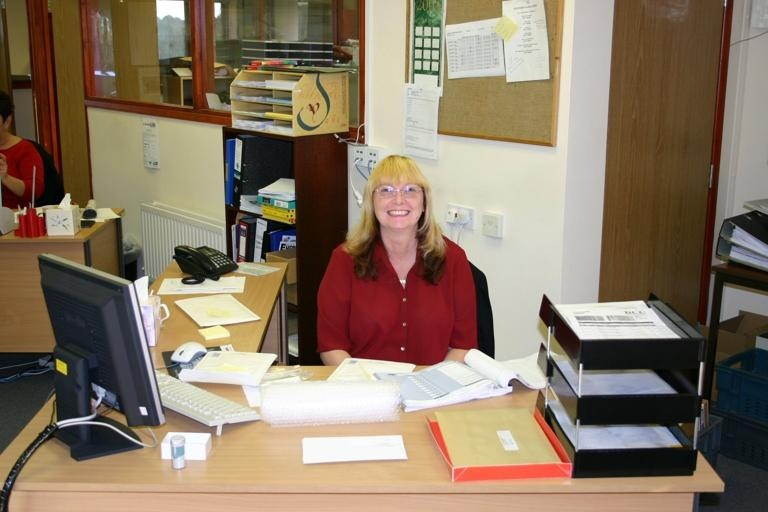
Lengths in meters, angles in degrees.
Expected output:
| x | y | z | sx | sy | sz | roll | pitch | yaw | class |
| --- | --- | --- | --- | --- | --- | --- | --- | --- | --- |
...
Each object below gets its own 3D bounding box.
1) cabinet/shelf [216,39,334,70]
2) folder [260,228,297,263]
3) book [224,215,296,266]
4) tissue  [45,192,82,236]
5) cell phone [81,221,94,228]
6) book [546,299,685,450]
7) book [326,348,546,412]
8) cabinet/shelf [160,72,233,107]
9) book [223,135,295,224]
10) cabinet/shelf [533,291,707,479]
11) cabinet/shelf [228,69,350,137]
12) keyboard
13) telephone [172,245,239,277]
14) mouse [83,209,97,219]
| x | y | z | sx | sy | sz | roll | pitch | yaw | class |
| --- | --- | --- | --- | --- | --- | --- | --- | --- | --- |
| -0.835 | -1.482 | 4.350 | 0.323 | 0.210 | 1.258 | -15 | 23 | -38 | cabinet/shelf |
| -0.750 | -0.062 | 4.172 | 0.239 | 0.223 | 0.078 | -1 | 2 | -27 | folder |
| -0.880 | -0.130 | 4.344 | 0.458 | 0.457 | 0.341 | -8 | 12 | -41 | book |
| -2.148 | -0.263 | 3.944 | 0.204 | 0.236 | 0.203 | -3 | 18 | -7 | tissue  |
| -2.055 | -0.218 | 4.100 | 0.060 | 0.016 | 0.055 | -5 | 21 | -28 | cell phone |
| 0.743 | 0.353 | 1.997 | 0.402 | 0.387 | 0.418 | -1 | 13 | 0 | book |
| 0.288 | 0.471 | 2.253 | 0.437 | 0.067 | 0.352 | -2 | 10 | -22 | book |
| -1.613 | -1.407 | 5.016 | 0.961 | 0.313 | 0.093 | 15 | 24 | 39 | cabinet/shelf |
| -0.906 | -0.553 | 4.249 | 0.521 | 0.690 | 0.524 | 3 | 12 | 2 | book |
| 0.715 | 0.398 | 2.028 | 0.480 | 0.509 | 0.589 | 0 | 13 | -1 | cabinet/shelf |
| -0.682 | -1.072 | 4.111 | 0.816 | 0.426 | 0.450 | 10 | 21 | 29 | cabinet/shelf |
| -0.622 | 0.493 | 2.094 | 0.143 | 0.078 | 0.448 | 30 | -5 | -38 | keyboard |
| -1.033 | 0.026 | 3.416 | 0.301 | 0.144 | 0.382 | 7 | 11 | 10 | telephone |
| -2.069 | -0.294 | 4.184 | 0.082 | 0.071 | 0.068 | 6 | 21 | 3 | mouse |
